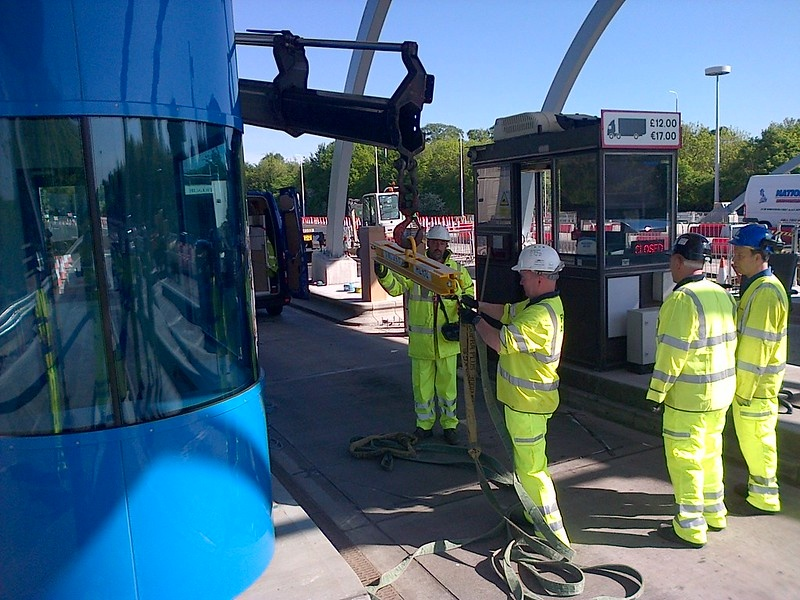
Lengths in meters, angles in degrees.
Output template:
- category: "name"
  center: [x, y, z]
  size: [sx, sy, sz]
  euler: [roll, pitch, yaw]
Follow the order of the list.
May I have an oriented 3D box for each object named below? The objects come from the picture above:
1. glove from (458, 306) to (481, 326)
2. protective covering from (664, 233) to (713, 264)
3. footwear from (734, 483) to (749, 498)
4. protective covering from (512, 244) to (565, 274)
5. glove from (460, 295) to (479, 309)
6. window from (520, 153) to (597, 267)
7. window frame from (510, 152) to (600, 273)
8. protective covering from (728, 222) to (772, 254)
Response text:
- category: "glove"
  center: [0.581, 0.122, 5.621]
  size: [0.161, 0.082, 0.121]
  euler: [25, 7, 5]
- category: "protective covering"
  center: [2.405, -0.429, 5.538]
  size: [0.207, 0.169, 0.287]
  euler: [-2, 19, -12]
- category: "footwear"
  center: [3.213, 1.795, 6.245]
  size: [0.099, 0.026, 0.101]
  euler: [-10, 16, -23]
- category: "protective covering"
  center: [1.125, -0.331, 5.385]
  size: [0.291, 0.183, 0.229]
  euler: [6, 10, 18]
- category: "glove"
  center: [0.611, 0.035, 5.859]
  size: [0.147, 0.053, 0.109]
  euler: [21, 18, -45]
- category: "window"
  center: [2.081, -1.176, 8.591]
  size: [0.075, 1.692, 1.537]
  euler: [-3, 6, -27]
- category: "window frame"
  center: [2.028, -1.149, 8.597]
  size: [0.126, 1.823, 1.657]
  euler: [-3, 4, -26]
- category: "protective covering"
  center: [3.268, -0.568, 6.196]
  size: [0.331, 0.190, 0.258]
  euler: [25, 25, 27]
